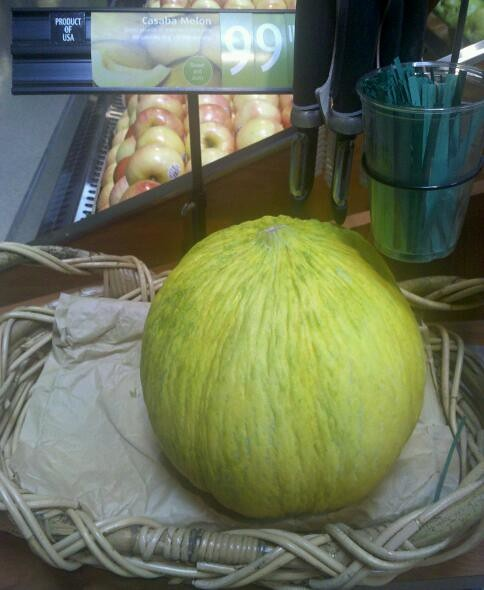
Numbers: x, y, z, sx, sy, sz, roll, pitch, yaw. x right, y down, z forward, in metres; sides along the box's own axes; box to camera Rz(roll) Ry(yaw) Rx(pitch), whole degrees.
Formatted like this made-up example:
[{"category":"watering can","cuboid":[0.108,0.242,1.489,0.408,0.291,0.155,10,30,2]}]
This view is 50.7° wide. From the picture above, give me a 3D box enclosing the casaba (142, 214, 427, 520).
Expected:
[{"category":"casaba","cuboid":[0.044,0.078,0.607,0.324,0.296,0.286,-8,33,-12]}]
